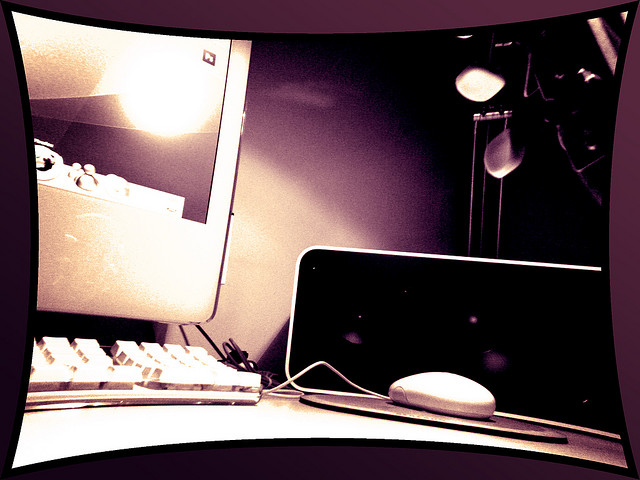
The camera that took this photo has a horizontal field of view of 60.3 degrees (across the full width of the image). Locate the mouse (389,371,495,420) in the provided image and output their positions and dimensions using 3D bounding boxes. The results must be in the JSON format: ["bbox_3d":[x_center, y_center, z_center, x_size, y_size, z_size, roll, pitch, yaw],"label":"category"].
[{"bbox_3d":[0.158,0.177,0.668,0.087,0.029,0.062,6,-12,40],"label":"mouse"}]

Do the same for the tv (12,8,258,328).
[{"bbox_3d":[-0.249,-0.105,0.717,0.316,0.427,0.065,10,-3,-41],"label":"tv"}]

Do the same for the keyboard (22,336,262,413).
[{"bbox_3d":[-0.213,0.157,0.637,0.261,0.079,0.132,9,-3,-38],"label":"keyboard"}]
